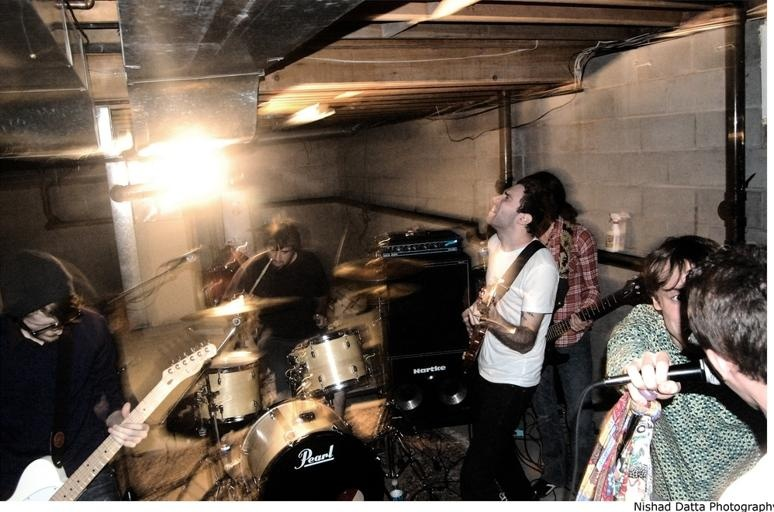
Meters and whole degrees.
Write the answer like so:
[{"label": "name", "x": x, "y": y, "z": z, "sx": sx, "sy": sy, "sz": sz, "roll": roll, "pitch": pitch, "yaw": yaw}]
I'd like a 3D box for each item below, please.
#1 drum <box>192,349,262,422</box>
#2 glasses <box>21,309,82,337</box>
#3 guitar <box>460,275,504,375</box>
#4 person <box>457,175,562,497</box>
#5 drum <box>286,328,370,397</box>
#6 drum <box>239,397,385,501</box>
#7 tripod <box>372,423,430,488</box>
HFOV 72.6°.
[{"label": "drum", "x": -1.335, "y": 1.134, "z": 4.697, "sx": 0.627, "sy": 0.498, "sz": 0.607, "roll": -3, "pitch": 4, "yaw": 0}, {"label": "glasses", "x": -2.166, "y": 0.414, "z": 3.348, "sx": 0.203, "sy": 0.056, "sz": 0.192, "roll": 20, "pitch": 27, "yaw": 16}, {"label": "guitar", "x": 0.701, "y": 0.530, "z": 3.999, "sx": 0.108, "sy": 0.698, "sz": 0.297, "roll": 12, "pitch": 11, "yaw": -22}, {"label": "person", "x": 0.891, "y": 0.586, "z": 3.856, "sx": 0.682, "sy": 2.267, "sz": 0.956, "roll": -1, "pitch": 9, "yaw": 16}, {"label": "drum", "x": -0.556, "y": 0.947, "z": 4.656, "sx": 0.633, "sy": 0.387, "sz": 0.598, "roll": -20, "pitch": -8, "yaw": -3}, {"label": "drum", "x": -0.560, "y": 1.414, "z": 4.050, "sx": 1.028, "sy": 0.912, "sz": 0.741, "roll": 1, "pitch": 9, "yaw": -24}, {"label": "tripod", "x": 0.110, "y": 1.774, "z": 4.602, "sx": 0.230, "sy": 0.361, "sz": 0.545, "roll": 25, "pitch": 22, "yaw": -40}]
